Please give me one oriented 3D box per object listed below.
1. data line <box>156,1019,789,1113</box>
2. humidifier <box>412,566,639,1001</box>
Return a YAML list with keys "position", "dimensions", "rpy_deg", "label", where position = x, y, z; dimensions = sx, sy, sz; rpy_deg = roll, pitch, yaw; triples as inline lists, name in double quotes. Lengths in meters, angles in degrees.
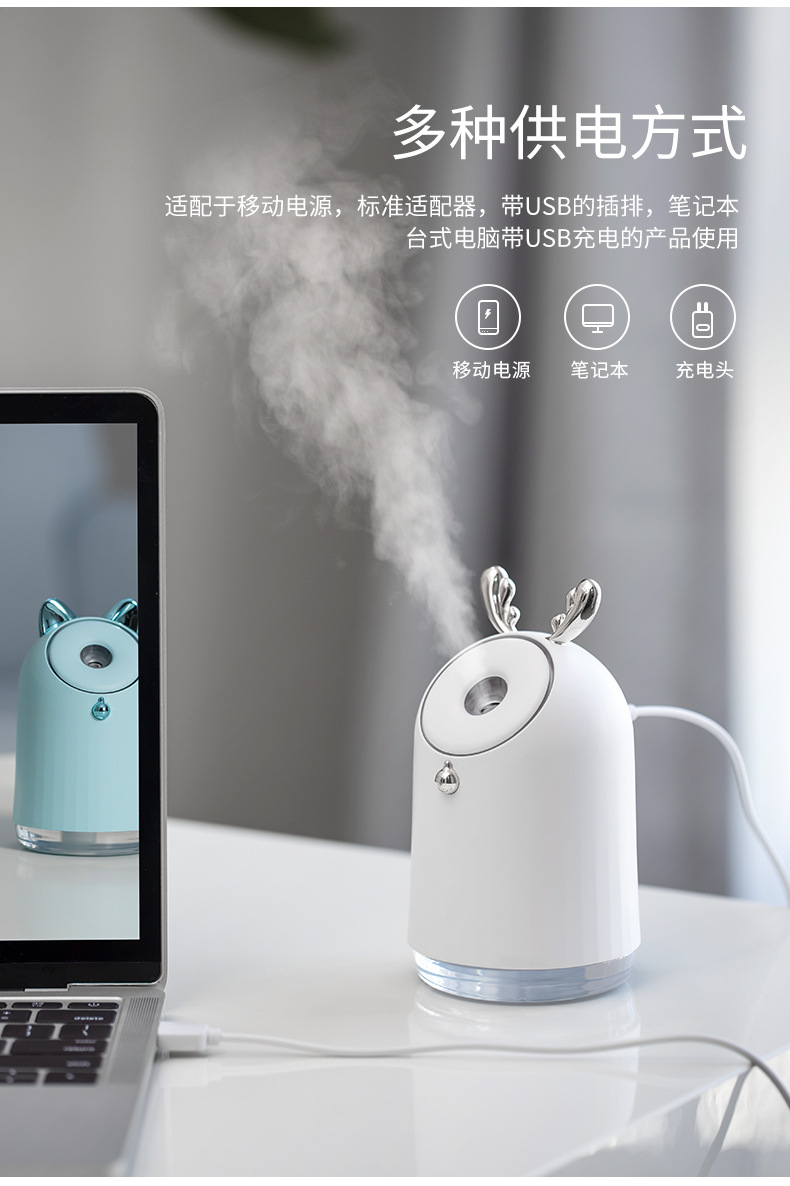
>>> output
- position: [0.033, 0.209, 0.536]
  dimensions: [0.279, 0.017, 0.051]
  rpy_deg: [1, -2, 7]
  label: "data line"
- position: [0.069, 0.098, 0.634]
  dimensions: [0.115, 0.229, 0.115]
  rpy_deg: [0, -2, 35]
  label: "humidifier"
